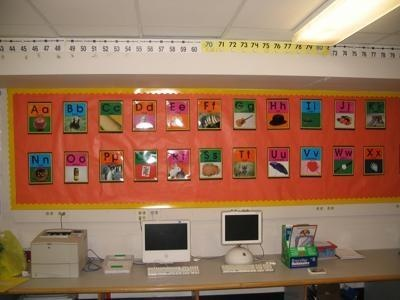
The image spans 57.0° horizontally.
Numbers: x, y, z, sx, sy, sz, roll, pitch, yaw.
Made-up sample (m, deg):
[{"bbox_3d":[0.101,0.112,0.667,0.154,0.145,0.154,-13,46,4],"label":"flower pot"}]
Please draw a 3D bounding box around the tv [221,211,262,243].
[{"bbox_3d":[0.462,0.898,4.259,0.362,0.272,0.037,0,-4,-3],"label":"tv"}]

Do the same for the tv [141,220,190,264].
[{"bbox_3d":[-0.402,1.045,4.169,0.481,0.401,0.040,0,-6,-4],"label":"tv"}]

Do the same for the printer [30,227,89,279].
[{"bbox_3d":[-1.520,1.090,3.933,0.465,0.383,0.479,1,-7,-5],"label":"printer"}]
